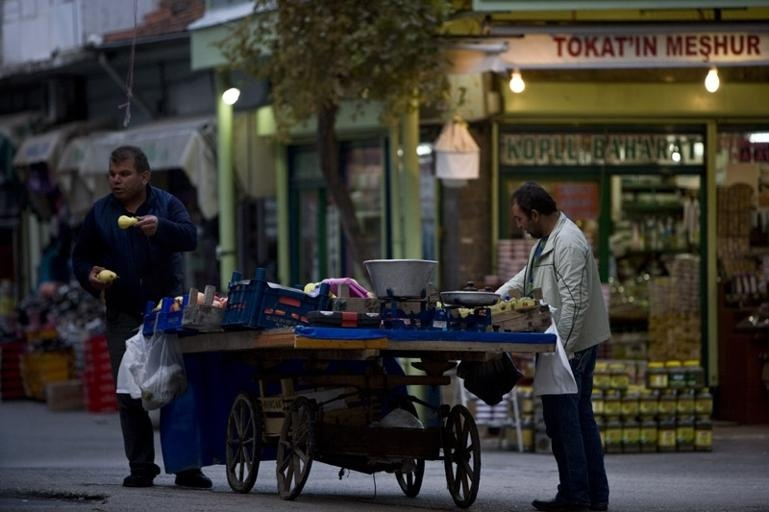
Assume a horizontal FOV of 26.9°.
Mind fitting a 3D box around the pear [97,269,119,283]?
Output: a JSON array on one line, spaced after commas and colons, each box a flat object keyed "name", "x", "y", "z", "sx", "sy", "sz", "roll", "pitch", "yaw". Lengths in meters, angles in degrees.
[{"name": "pear", "x": -2.892, "y": 0.202, "z": 16.580, "sx": 0.169, "sy": 0.122, "sz": 0.132, "roll": -2, "pitch": 6, "yaw": 4}]

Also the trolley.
[{"name": "trolley", "x": -0.396, "y": 1.513, "z": 16.272, "sx": 4.439, "sy": 2.415, "sz": 2.653, "roll": -1, "pitch": -3, "yaw": 7}]

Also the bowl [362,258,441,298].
[{"name": "bowl", "x": 0.204, "y": 0.207, "z": 16.091, "sx": 0.859, "sy": 0.434, "sz": 0.885, "roll": 1, "pitch": 2, "yaw": 0}]

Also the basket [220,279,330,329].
[{"name": "basket", "x": -1.075, "y": 0.468, "z": 15.860, "sx": 1.075, "sy": 0.480, "sz": 0.441, "roll": -1, "pitch": -5, "yaw": -2}]

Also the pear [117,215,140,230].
[{"name": "pear", "x": -2.659, "y": -0.351, "z": 16.543, "sx": 0.086, "sy": 0.134, "sz": 0.205, "roll": -39, "pitch": -16, "yaw": 22}]

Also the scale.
[{"name": "scale", "x": 0.462, "y": 0.370, "z": 15.763, "sx": 1.199, "sy": 0.721, "sz": 0.314, "roll": -1, "pitch": -5, "yaw": -4}]
